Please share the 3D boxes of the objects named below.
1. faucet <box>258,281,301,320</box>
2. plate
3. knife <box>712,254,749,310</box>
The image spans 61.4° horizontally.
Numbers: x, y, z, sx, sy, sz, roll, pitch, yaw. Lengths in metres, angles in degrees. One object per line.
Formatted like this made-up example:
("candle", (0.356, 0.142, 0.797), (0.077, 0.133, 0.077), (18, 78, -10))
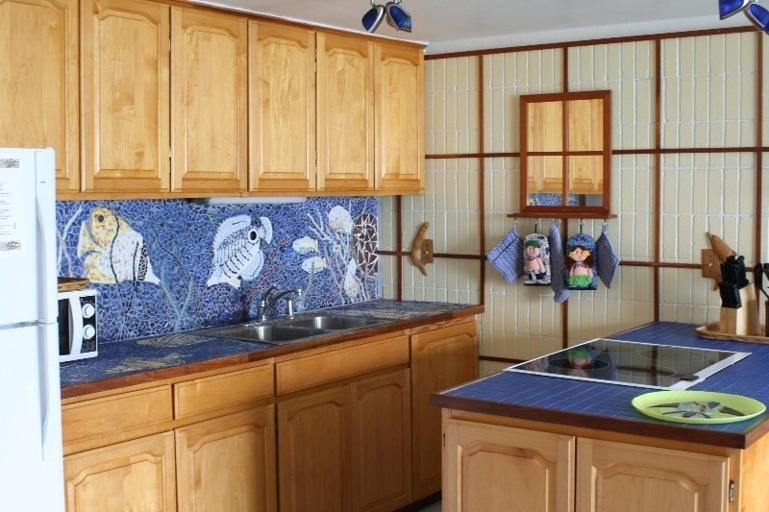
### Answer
("faucet", (-0.658, 0.283, 4.075), (0.254, 0.215, 0.385), (-2, 5, -8))
("plate", (1.138, 0.549, 2.363), (0.426, 0.041, 0.333), (-5, 6, -34))
("knife", (1.957, 0.138, 3.615), (0.150, 0.285, 0.223), (2, 6, 31))
